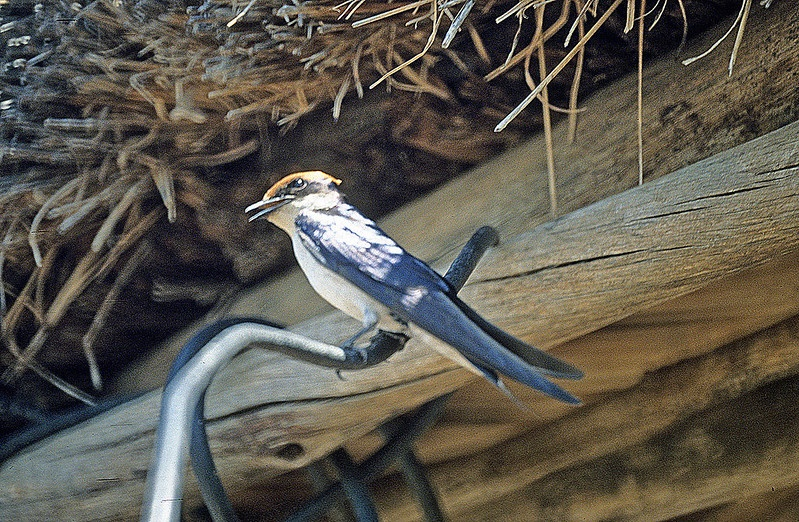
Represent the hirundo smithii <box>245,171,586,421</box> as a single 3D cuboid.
[{"bbox_3d":[-0.006,0.076,2.772,0.308,0.560,0.480,-40,32,-3],"label":"hirundo smithii"}]
